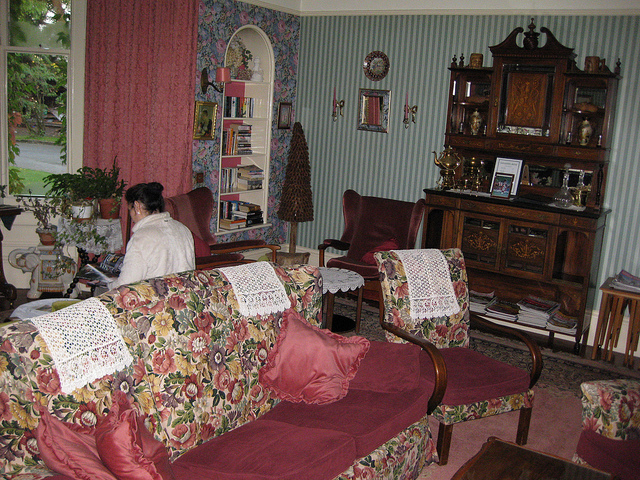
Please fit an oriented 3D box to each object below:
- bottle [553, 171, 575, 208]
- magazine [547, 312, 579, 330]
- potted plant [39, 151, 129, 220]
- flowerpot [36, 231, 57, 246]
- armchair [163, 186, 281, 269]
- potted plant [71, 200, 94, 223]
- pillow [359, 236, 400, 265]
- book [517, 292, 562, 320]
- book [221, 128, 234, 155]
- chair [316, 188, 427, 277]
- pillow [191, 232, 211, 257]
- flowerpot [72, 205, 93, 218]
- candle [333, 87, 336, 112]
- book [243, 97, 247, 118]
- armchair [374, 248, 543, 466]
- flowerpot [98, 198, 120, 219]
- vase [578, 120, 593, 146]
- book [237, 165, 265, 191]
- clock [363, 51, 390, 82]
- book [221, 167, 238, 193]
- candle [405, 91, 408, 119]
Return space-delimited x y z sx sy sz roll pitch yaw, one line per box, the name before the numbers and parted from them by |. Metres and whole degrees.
bottle | 2.612 -0.552 5.610 0.235 0.382 0.233 -2 19 1
magazine | 2.580 0.852 5.580 0.272 0.101 0.238 9 13 31
potted plant | -2.488 -0.491 5.533 0.615 0.509 0.835 5 7 17
flowerpot | -3.031 -0.028 5.799 0.168 0.125 0.173 1 0 7
armchair | -1.086 -0.042 5.371 0.792 0.843 1.140 11 16 31
potted plant | -2.419 -0.300 5.337 0.205 0.234 0.208 -1 10 -26
pillow | 0.818 0.076 6.097 0.504 0.155 0.474 3 32 21
book | 2.351 0.695 5.680 0.319 0.118 0.323 13 22 38
book | -1.171 -1.251 6.599 0.169 0.318 0.312 -1 7 -18
chair | 0.590 0.021 6.098 1.081 1.099 0.909 13 16 30
pillow | -1.160 0.050 5.158 0.208 0.241 0.180 3 7 12
flowerpot | -2.428 -0.301 5.341 0.127 0.098 0.129 1 7 -18
candle | 0.192 -1.897 7.068 0.031 0.314 0.057 0 11 -8
book | -0.974 -1.720 6.792 0.045 0.197 0.187 5 3 -5
armchair | 0.924 0.691 3.942 0.951 1.692 1.042 -1 8 -31
flowerpot | -2.250 -0.341 5.609 0.186 0.153 0.192 2 9 6
vase | 2.793 -1.142 5.519 0.142 0.253 0.099 6 11 19
book | -0.899 -0.840 6.995 0.296 0.306 0.412 12 14 38
clock | 0.726 -2.239 6.738 0.342 0.377 0.035 8 12 28
book | -1.175 -0.790 6.787 0.267 0.364 0.362 -1 5 -19
candle | 1.079 -1.702 6.589 0.030 0.315 0.047 -2 11 -19
